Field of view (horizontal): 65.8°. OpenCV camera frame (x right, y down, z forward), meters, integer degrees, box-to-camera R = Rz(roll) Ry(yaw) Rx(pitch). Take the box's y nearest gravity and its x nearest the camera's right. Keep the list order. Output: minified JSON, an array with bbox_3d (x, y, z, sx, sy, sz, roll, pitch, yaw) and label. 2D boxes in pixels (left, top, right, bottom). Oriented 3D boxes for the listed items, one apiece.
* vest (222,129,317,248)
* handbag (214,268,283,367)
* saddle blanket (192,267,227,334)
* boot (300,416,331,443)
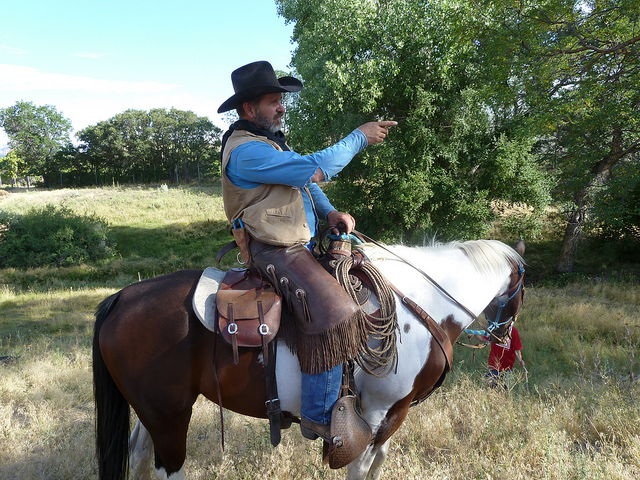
[{"bbox_3d":[-0.769,-0.502,6.896,1.221,1.161,0.401,5,10,13],"label":"vest"},{"bbox_3d":[-1.036,1.035,7.000,0.919,0.594,1.670,-4,40,-14],"label":"handbag"},{"bbox_3d":[-1.568,0.775,6.847,0.482,0.775,0.167,11,-18,-25],"label":"saddle blanket"},{"bbox_3d":[-0.080,2.591,6.847,0.542,0.443,0.204,-3,3,-3],"label":"boot"}]
